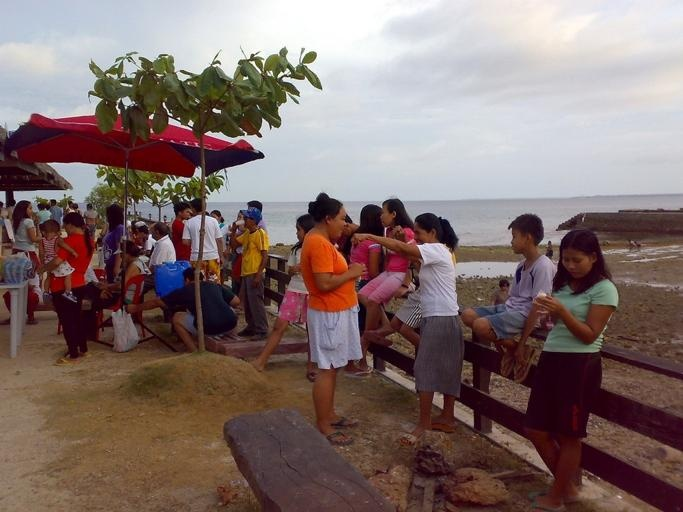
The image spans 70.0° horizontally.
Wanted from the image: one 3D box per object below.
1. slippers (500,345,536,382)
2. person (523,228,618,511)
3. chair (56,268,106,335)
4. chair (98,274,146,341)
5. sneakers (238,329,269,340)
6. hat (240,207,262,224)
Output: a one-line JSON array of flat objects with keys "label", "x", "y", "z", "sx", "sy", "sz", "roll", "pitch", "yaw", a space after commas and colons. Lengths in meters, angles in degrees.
[{"label": "slippers", "x": 1.544, "y": 0.949, "z": 4.291, "sx": 0.143, "sy": 0.416, "sz": 0.225, "roll": 4, "pitch": 16, "yaw": -10}, {"label": "person", "x": 1.773, "y": 0.886, "z": 3.798, "sx": 0.596, "sy": 2.181, "sz": 0.480, "roll": 3, "pitch": 7, "yaw": 13}, {"label": "chair", "x": -3.835, "y": 0.721, "z": 7.433, "sx": 0.572, "sy": 0.916, "sz": 0.667, "roll": -4, "pitch": 4, "yaw": 39}, {"label": "chair", "x": -3.436, "y": 0.755, "z": 7.547, "sx": 0.577, "sy": 0.910, "sz": 0.541, "roll": 9, "pitch": 8, "yaw": -29}, {"label": "sneakers", "x": -1.419, "y": 1.250, "z": 7.674, "sx": 0.508, "sy": 0.227, "sz": 0.176, "roll": -13, "pitch": -8, "yaw": 33}, {"label": "hat", "x": -1.464, "y": -0.623, "z": 7.645, "sx": 0.335, "sy": 0.184, "sz": 0.243, "roll": 19, "pitch": 19, "yaw": 14}]
